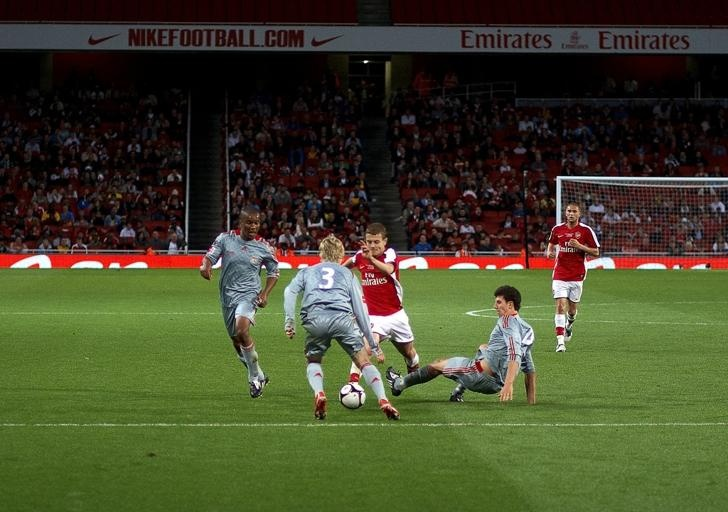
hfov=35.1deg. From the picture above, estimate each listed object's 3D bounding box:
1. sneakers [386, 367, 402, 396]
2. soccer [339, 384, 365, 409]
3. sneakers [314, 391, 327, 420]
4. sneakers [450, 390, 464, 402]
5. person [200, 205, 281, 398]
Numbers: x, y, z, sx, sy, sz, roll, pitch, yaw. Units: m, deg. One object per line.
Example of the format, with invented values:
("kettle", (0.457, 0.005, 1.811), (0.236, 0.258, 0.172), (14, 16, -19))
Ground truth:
("sneakers", (0.548, 1.991, 18.603), (0.237, 0.508, 0.177), (-30, -27, 33))
("soccer", (-0.170, 2.182, 17.772), (0.378, 0.369, 0.373), (15, 31, 13))
("sneakers", (-0.655, 2.276, 17.500), (0.155, 0.439, 0.216), (4, 25, -7))
("sneakers", (1.498, 2.238, 18.375), (0.108, 0.128, 0.294), (2, 2, 23))
("person", (-1.974, 0.696, 18.790), (1.166, 2.965, 1.337), (-2, 14, -6))
